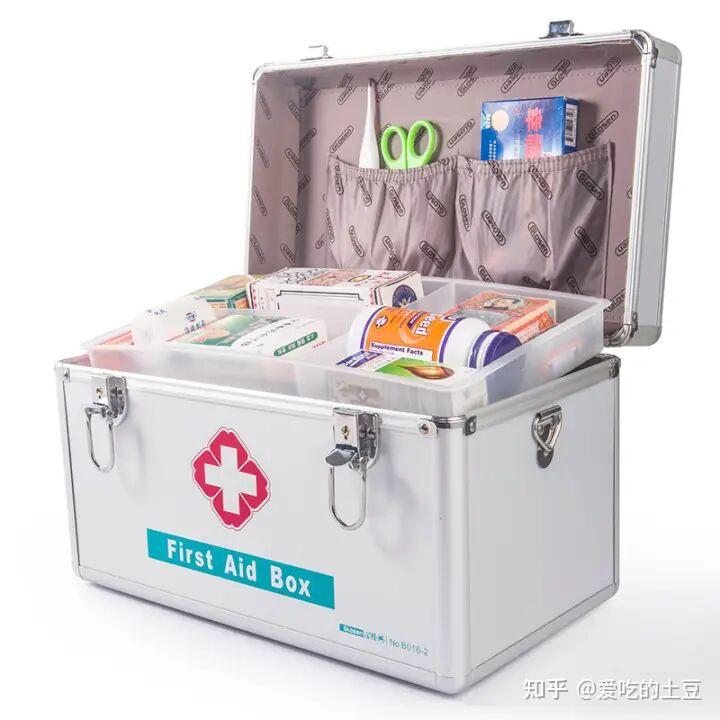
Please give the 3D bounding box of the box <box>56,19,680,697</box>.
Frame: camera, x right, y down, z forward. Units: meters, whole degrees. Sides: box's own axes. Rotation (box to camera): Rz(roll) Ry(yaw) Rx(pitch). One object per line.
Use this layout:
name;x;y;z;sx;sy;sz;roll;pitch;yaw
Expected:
box;0.024;-0.105;1.774;1.065;1.054;0.889;6;16;37

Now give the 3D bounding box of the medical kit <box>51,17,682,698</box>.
medical kit;-0.013;-0.098;1.753;1.115;1.069;0.947;4;14;29
